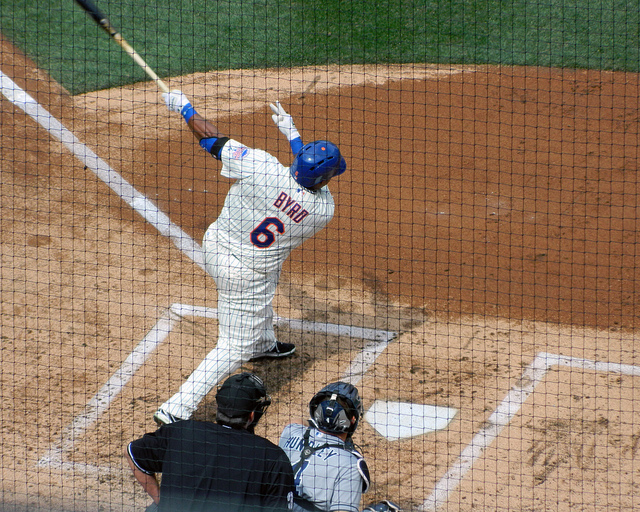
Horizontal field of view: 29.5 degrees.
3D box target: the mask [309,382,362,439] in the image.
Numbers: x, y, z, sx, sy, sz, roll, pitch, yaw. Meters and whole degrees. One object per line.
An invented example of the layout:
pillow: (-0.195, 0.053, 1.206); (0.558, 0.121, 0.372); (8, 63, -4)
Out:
mask: (0.015, 1.477, 11.430); (0.719, 0.679, 0.504); (8, 92, -4)
